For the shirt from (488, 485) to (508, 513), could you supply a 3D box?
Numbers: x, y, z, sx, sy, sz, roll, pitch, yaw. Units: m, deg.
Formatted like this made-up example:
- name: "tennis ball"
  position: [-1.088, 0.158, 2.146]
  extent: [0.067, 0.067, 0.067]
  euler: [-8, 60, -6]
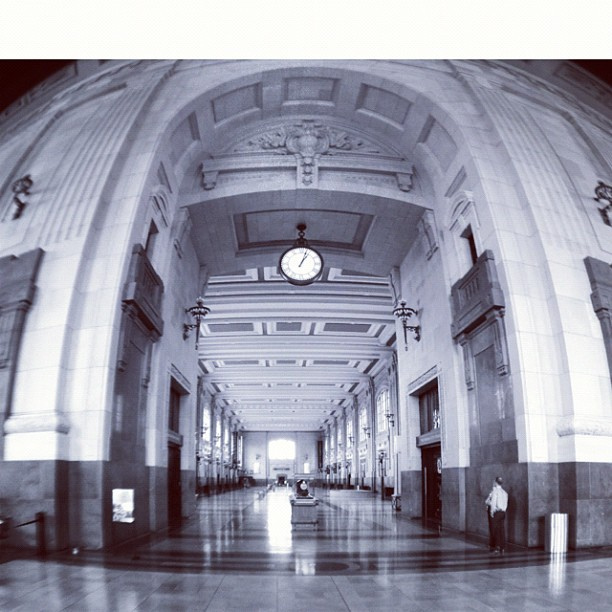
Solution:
- name: "shirt"
  position: [3.440, 3.229, 8.825]
  extent: [0.311, 0.433, 0.266]
  euler: [-5, -19, 14]

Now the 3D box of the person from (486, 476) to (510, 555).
- name: "person"
  position: [3.420, 3.492, 8.816]
  extent: [0.398, 1.165, 0.667]
  euler: [-6, -19, 18]

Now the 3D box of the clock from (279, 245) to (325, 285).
- name: "clock"
  position: [-0.157, -1.108, 15.014]
  extent: [1.401, 0.435, 1.846]
  euler: [0, -43, 0]
